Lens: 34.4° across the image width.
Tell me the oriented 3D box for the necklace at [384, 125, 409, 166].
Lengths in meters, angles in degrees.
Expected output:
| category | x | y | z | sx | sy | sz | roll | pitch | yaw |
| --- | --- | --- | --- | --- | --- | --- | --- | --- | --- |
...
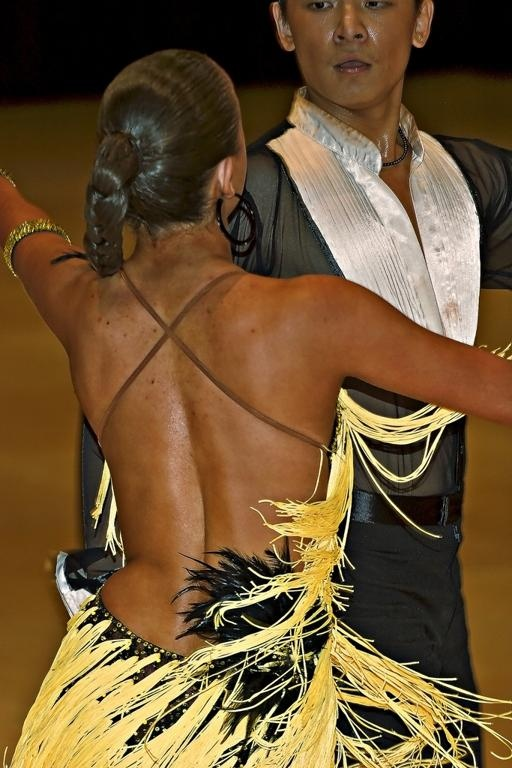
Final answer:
| category | x | y | z | sx | sy | sz | roll | pitch | yaw |
| --- | --- | --- | --- | --- | --- | --- | --- | --- | --- |
| necklace | 0.244 | -0.407 | 1.420 | 0.011 | 0.071 | 0.062 | 12 | 19 | 40 |
